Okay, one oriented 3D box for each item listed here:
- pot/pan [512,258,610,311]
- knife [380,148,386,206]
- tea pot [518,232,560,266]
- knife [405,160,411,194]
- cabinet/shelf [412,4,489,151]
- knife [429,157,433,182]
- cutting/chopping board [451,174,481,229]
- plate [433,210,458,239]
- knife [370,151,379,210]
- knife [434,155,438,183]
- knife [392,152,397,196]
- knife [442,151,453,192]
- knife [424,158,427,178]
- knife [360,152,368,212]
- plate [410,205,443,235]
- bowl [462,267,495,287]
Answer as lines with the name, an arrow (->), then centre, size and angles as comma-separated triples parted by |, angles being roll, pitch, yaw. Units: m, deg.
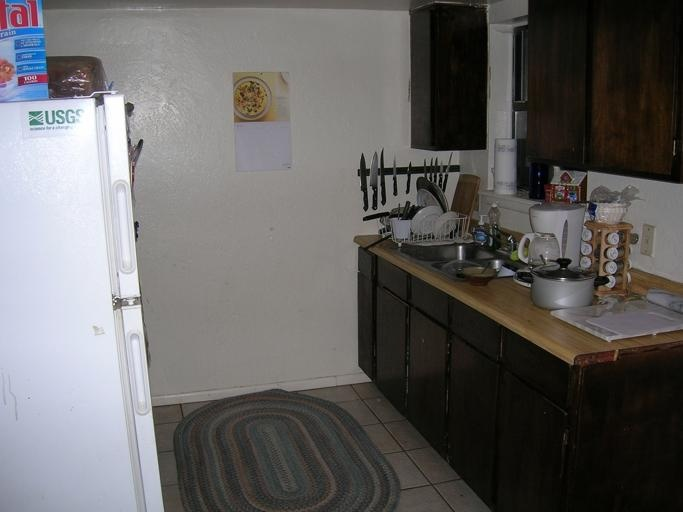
pot/pan -> 0.965, 0.104, 2.408 | 0.298, 0.162, 0.218 | -3, 8, -1
knife -> 0.292, -0.552, 3.858 | 0.044, 0.387, 0.026 | -6, 12, -13
tea pot -> 0.983, -0.027, 2.712 | 0.179, 0.183, 0.134 | -5, 23, 14
knife -> 0.488, -0.556, 3.906 | 0.050, 0.212, 0.024 | -8, 13, -21
cabinet/shelf -> 0.701, -1.163, 3.580 | 0.509, 0.926, 0.313 | 0, 12, 12
knife -> 0.648, -0.627, 3.938 | 0.043, 0.157, 0.017 | -3, 12, 1
cutting/chopping board -> 0.861, -0.396, 3.776 | 0.188, 0.325, 0.283 | -8, 13, -24
plate -> 0.699, -0.203, 3.573 | 0.214, 0.181, 0.109 | -11, 15, -34
knife -> 0.237, -0.530, 3.846 | 0.033, 0.398, 0.073 | 8, 16, 41
knife -> 0.686, -0.621, 3.942 | 0.044, 0.180, 0.022 | -6, 12, -12
knife -> 0.385, -0.564, 3.885 | 0.045, 0.273, 0.021 | -14, 17, -43
knife -> 0.766, -0.602, 3.949 | 0.047, 0.353, 0.024 | 9, 6, -1
knife -> 0.607, -0.642, 3.926 | 0.030, 0.124, 0.014 | -6, 12, -14
knife -> 0.160, -0.514, 3.820 | 0.059, 0.395, 0.026 | -4, 12, -5
plate -> 0.550, -0.231, 3.547 | 0.166, 0.194, 0.073 | -3, 26, -17
bowl -> 0.691, 0.100, 2.728 | 0.157, 0.077, 0.151 | -3, 12, 1
